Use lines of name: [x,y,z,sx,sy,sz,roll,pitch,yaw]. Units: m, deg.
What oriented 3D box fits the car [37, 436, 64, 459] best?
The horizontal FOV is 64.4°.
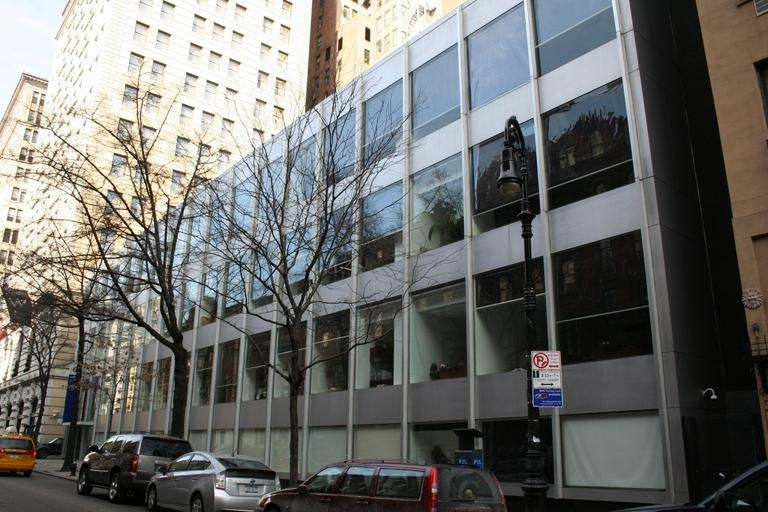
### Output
car: [-29.941,17.290,54.527,1.671,1.962,6.035,7,-22,-23]
